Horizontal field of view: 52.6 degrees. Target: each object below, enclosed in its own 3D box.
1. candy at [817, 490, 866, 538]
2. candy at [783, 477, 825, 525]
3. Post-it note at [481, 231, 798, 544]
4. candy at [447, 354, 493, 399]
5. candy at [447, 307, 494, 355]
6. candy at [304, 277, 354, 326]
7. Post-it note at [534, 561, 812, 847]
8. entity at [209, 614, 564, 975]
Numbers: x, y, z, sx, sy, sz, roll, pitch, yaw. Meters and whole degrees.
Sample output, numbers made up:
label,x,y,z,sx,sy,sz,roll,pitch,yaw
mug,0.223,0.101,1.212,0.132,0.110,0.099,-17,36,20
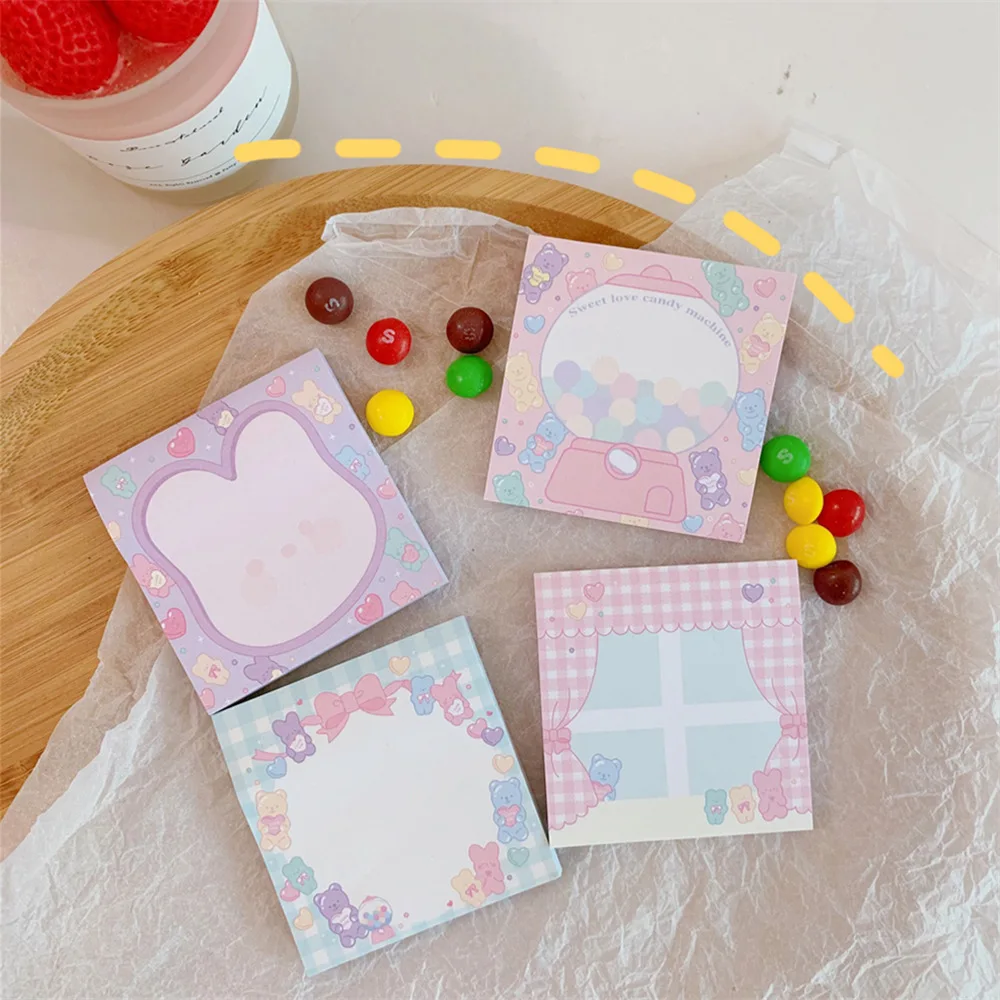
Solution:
label,x,y,z,sx,sy,sz,roll,pitch,yaw
candy,0.318,0.011,0.943,0.043,0.021,0.042,-1,95,8
candy,0.296,-0.001,0.977,0.041,0.023,0.040,-34,70,36
Post-it note,0.127,-0.106,0.939,0.247,0.111,0.231,9,68,5
candy,-0.029,-0.117,0.950,0.039,0.023,0.041,-2,90,-2
candy,-0.030,-0.158,0.947,0.043,0.023,0.042,0,96,0
candy,-0.163,-0.189,0.961,0.042,0.041,0.040,2,67,2
Post-it note,0.158,0.184,0.930,0.238,0.083,0.230,-3,67,0
entity,-0.106,0.270,0.931,0.246,0.104,0.237,-20,68,-7
